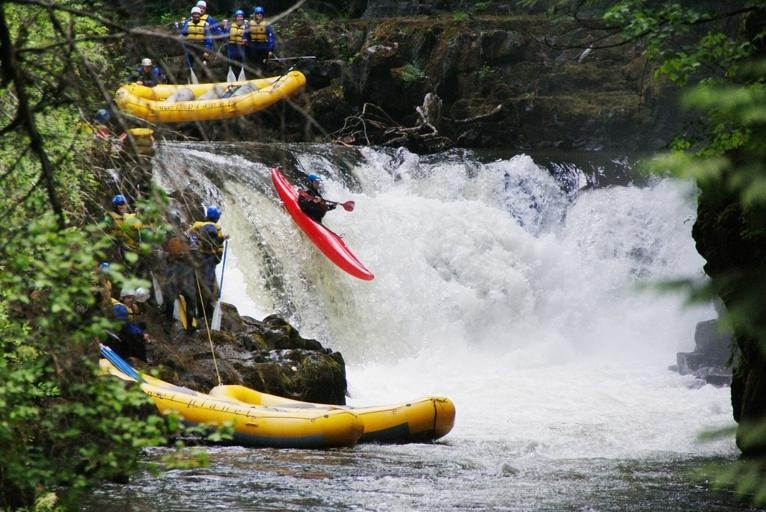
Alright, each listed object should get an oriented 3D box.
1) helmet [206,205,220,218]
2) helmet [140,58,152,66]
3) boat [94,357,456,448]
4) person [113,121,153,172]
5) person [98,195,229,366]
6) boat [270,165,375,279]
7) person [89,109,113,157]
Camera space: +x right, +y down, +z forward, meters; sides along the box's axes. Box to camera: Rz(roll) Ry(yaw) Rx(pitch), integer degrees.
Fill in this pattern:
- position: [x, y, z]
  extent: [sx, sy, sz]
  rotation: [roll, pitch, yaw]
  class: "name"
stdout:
- position: [-3.166, -0.836, 22.456]
  extent: [0.189, 0.208, 0.254]
  rotation: [1, 16, -6]
  class: "helmet"
- position: [-3.367, -2.749, 17.211]
  extent: [0.161, 0.113, 0.220]
  rotation: [7, 11, -3]
  class: "helmet"
- position: [-1.480, 2.656, 20.368]
  extent: [4.490, 0.785, 2.239]
  rotation: [3, -3, 10]
  class: "boat"
- position: [-3.580, -1.553, 17.386]
  extent: [0.626, 0.499, 2.136]
  rotation: [-1, 13, -6]
  class: "person"
- position: [-3.659, 0.465, 19.760]
  extent: [0.931, 1.037, 2.789]
  rotation: [-5, 20, 15]
  class: "person"
- position: [-1.382, -0.625, 25.769]
  extent: [0.784, 2.096, 2.610]
  rotation: [-16, 18, -35]
  class: "boat"
- position: [-3.985, -1.714, 17.060]
  extent: [0.260, 0.833, 0.516]
  rotation: [4, 37, -2]
  class: "person"
